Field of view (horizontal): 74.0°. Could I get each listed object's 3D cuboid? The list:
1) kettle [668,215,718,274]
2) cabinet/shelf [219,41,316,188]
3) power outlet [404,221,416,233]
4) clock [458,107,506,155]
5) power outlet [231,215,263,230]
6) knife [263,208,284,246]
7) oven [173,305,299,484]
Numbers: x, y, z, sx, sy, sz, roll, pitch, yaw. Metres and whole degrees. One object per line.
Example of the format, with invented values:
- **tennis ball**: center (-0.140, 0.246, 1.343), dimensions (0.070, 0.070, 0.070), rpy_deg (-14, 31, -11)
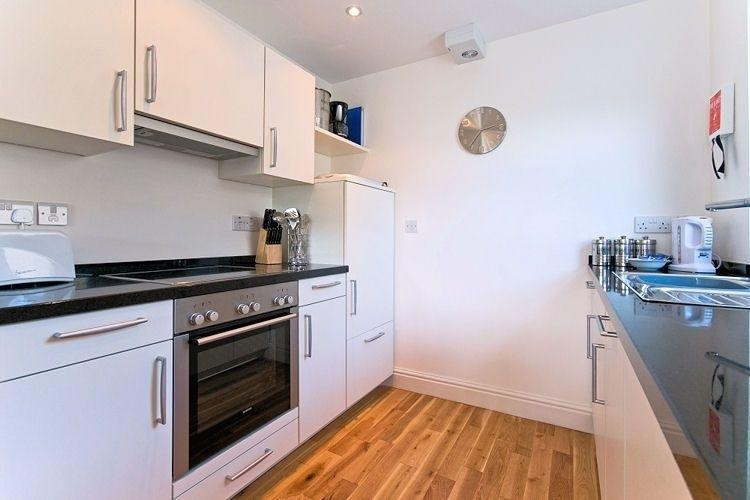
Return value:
- **kettle**: center (1.921, -0.034, 3.007), dimensions (0.191, 0.331, 0.264), rpy_deg (-1, 1, 3)
- **cabinet/shelf**: center (-0.771, -0.803, 3.514), dimensions (0.455, 1.034, 0.801), rpy_deg (0, 0, 25)
- **power outlet**: center (0.290, -0.183, 3.935), dimensions (0.086, 0.093, 0.022), rpy_deg (0, 5, 30)
- **clock**: center (0.794, -0.877, 3.658), dimensions (0.351, 0.347, 0.038), rpy_deg (0, 5, 28)
- **power outlet**: center (-0.919, -0.193, 3.589), dimensions (0.022, 0.119, 0.253), rpy_deg (1, 5, 37)
- **knife**: center (-0.713, -0.158, 3.512), dimensions (0.145, 0.247, 0.063), rpy_deg (-5, 5, -31)
- **oven**: center (-0.916, 0.709, 3.016), dimensions (0.637, 0.892, 0.899), rpy_deg (-3, -2, 35)
